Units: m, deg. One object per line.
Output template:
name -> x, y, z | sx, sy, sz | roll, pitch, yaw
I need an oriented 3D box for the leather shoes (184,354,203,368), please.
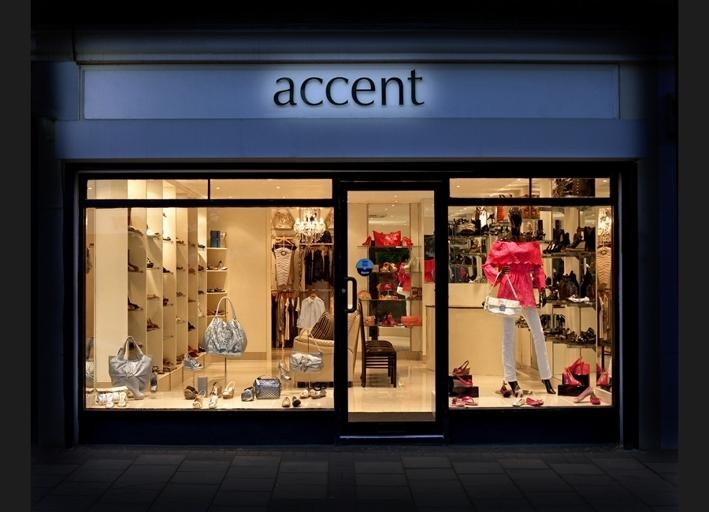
leather shoes -> -1.853, 1.220, 7.805 | 0.222, 0.102, 0.106 | 1, -3, 33

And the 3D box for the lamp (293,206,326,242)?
lamp -> -0.494, -0.375, 7.666 | 0.348, 0.554, 0.364 | -1, 9, -9

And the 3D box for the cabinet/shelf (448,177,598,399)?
cabinet/shelf -> 1.965, 0.349, 7.612 | 1.794, 2.417, 0.580 | 0, 11, 0

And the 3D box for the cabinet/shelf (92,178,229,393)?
cabinet/shelf -> -2.295, 0.411, 7.797 | 1.457, 1.944, 0.628 | -2, 12, -11

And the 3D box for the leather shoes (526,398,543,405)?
leather shoes -> 2.005, 1.627, 7.528 | 0.114, 0.049, 0.085 | 4, 6, 16

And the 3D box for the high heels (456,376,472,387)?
high heels -> 1.234, 1.397, 7.622 | 0.216, 0.106, 0.115 | 1, 12, 5

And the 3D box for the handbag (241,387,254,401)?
handbag -> -1.187, 1.547, 7.567 | 0.130, 0.136, 0.098 | 2, -9, -1

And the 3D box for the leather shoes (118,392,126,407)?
leather shoes -> -2.574, 1.591, 7.505 | 0.060, 0.055, 0.142 | 0, 42, -9

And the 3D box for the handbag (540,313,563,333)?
handbag -> 2.294, 0.763, 7.891 | 0.211, 0.260, 0.220 | 1, -1, -4

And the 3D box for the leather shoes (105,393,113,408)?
leather shoes -> -2.709, 1.596, 7.491 | 0.086, 0.112, 0.114 | -4, 13, -20

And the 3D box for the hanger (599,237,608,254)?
hanger -> 2.817, -0.110, 7.622 | 0.081, 0.142, 0.137 | 7, -13, 11

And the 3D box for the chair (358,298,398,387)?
chair -> 0.269, 1.000, 7.680 | 0.439, 0.906, 0.297 | 0, 11, 1

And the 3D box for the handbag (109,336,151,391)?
handbag -> -2.561, 1.240, 7.685 | 0.532, 0.831, 0.185 | 0, -24, -8

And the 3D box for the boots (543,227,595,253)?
boots -> 2.494, -0.192, 7.765 | 0.446, 0.209, 0.296 | -1, 3, 2

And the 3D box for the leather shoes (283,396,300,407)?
leather shoes -> -0.688, 1.611, 7.466 | 0.199, 0.083, 0.084 | 0, 12, -1

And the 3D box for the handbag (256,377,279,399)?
handbag -> -0.975, 1.490, 7.607 | 0.248, 0.215, 0.189 | 2, -4, 0

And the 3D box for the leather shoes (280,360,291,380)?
leather shoes -> -0.785, 1.305, 7.703 | 0.117, 0.193, 0.072 | -22, -14, 13

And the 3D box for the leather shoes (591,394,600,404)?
leather shoes -> 2.689, 1.595, 7.531 | 0.113, 0.087, 0.084 | 4, 13, 19

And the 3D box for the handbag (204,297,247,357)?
handbag -> -1.483, 0.847, 7.858 | 0.570, 0.841, 0.244 | -1, -11, -1
